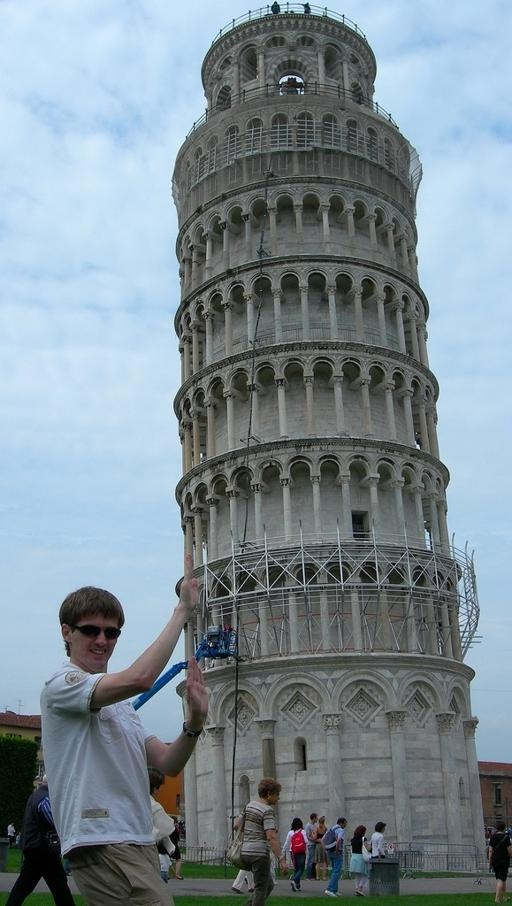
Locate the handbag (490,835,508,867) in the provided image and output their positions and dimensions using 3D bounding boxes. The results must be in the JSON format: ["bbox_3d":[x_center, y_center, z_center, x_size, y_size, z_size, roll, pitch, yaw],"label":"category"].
[{"bbox_3d":[4.240,6.956,21.451,0.318,0.594,0.696,-5,-19,9],"label":"handbag"}]

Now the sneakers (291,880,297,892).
[{"bbox_3d":[0.755,8.597,24.332,0.075,0.223,0.094,-7,-1,-24],"label":"sneakers"}]
